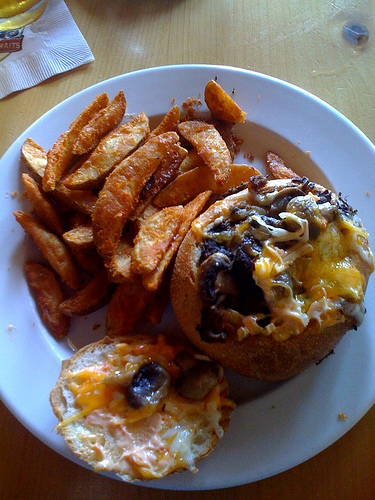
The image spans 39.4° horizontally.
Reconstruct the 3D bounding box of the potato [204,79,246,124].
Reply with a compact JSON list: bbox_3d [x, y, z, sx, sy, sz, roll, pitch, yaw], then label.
[{"bbox_3d":[0.151,-0.577,2.040,0.163,0.282,0.145,-2,93,21],"label":"potato"}]

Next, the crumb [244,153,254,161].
[{"bbox_3d":[0.248,-0.374,2.089,0.035,0.010,0.022,38,92,5],"label":"crumb"}]

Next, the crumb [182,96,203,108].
[{"bbox_3d":[0.015,-0.585,2.069,0.059,0.014,0.049,-15,71,-2],"label":"crumb"}]

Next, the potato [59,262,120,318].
[{"bbox_3d":[-0.326,0.146,1.876,0.247,0.056,0.135,-41,82,-12],"label":"potato"}]

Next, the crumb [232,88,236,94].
[{"bbox_3d":[0.184,-0.629,2.069,0.020,0.007,0.022,0,83,-1],"label":"crumb"}]

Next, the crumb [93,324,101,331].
[{"bbox_3d":[-0.336,0.283,1.919,0.015,0.006,0.024,23,61,5],"label":"crumb"}]

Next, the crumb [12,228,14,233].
[{"bbox_3d":[-0.653,-0.074,1.953,0.006,0.015,0.017,-3,39,-28],"label":"crumb"}]

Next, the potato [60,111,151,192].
[{"bbox_3d":[-0.272,-0.354,1.862,0.359,0.114,0.125,-43,52,-9],"label":"potato"}]

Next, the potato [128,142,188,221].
[{"bbox_3d":[-0.111,-0.238,1.818,0.330,0.072,0.069,-47,31,-2],"label":"potato"}]

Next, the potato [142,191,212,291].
[{"bbox_3d":[0.019,-0.024,1.797,0.119,0.056,0.478,6,58,52],"label":"potato"}]

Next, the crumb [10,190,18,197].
[{"bbox_3d":[-0.658,-0.214,1.977,0.028,0.007,0.022,-1,73,-13],"label":"crumb"}]

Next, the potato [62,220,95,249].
[{"bbox_3d":[-0.368,-0.054,1.787,0.100,0.059,0.103,-16,70,-2],"label":"potato"}]

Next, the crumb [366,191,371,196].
[{"bbox_3d":[0.671,-0.211,1.934,0.020,0.005,0.016,-1,81,7],"label":"crumb"}]

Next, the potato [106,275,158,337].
[{"bbox_3d":[-0.208,0.185,1.869,0.138,0.059,0.243,35,95,-11],"label":"potato"}]

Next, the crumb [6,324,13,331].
[{"bbox_3d":[-0.631,0.273,1.856,0.020,0.004,0.017,2,59,-5],"label":"crumb"}]

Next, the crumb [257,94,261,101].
[{"bbox_3d":[0.282,-0.603,2.060,0.015,0.010,0.023,1,76,2],"label":"crumb"}]
